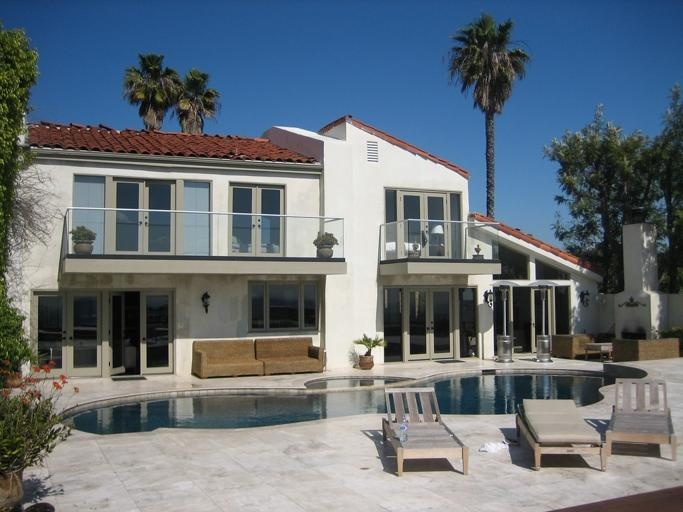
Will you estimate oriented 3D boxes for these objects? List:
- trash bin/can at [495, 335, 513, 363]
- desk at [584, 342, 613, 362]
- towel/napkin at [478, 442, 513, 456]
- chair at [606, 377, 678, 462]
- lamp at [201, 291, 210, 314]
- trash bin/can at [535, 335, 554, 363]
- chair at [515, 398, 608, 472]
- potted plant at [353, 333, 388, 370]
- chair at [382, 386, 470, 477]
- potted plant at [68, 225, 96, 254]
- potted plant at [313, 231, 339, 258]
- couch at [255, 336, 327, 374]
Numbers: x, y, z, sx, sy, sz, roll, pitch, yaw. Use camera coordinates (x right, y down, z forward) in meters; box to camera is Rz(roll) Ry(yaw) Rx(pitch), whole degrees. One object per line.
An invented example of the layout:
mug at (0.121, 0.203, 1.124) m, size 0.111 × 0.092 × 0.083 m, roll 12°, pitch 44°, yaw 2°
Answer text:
trash bin/can at (6.311, 3.583, 24.093) m, size 0.934 × 0.946 × 0.837 m, roll 0°, pitch -5°, yaw 2°
desk at (10.400, 3.822, 25.206) m, size 1.063 × 0.797 × 1.686 m, roll 0°, pitch 1°, yaw 22°
towel/napkin at (3.201, 3.937, 12.883) m, size 0.854 × 0.116 × 0.505 m, roll 0°, pitch 1°, yaw -36°
chair at (6.307, 3.385, 13.208) m, size 1.326 × 1.450 × 2.481 m, roll -1°, pitch -4°, yaw 20°
lamp at (-4.664, 1.582, 21.365) m, size 0.273 × 0.727 × 0.234 m, roll -1°, pitch 2°, yaw -17°
trash bin/can at (7.905, 3.605, 24.334) m, size 0.861 × 1.009 × 0.889 m, roll -3°, pitch -4°, yaw 41°
chair at (4.390, 3.536, 12.429) m, size 1.372 × 1.007 × 1.439 m, roll 0°, pitch 1°, yaw 4°
potted plant at (1.058, 3.537, 23.147) m, size 1.142 × 1.176 × 1.184 m, roll 1°, pitch -6°, yaw 5°
chair at (1.585, 3.374, 12.550) m, size 0.933 × 0.824 × 1.879 m, roll -1°, pitch -3°, yaw -4°
potted plant at (-8.080, -0.531, 19.652) m, size 0.804 × 0.875 × 0.758 m, roll 1°, pitch 1°, yaw 13°
potted plant at (-0.554, -0.375, 21.887) m, size 0.819 × 0.893 × 0.812 m, roll 3°, pitch -6°, yaw -32°
couch at (-1.834, 3.462, 21.659) m, size 2.236 × 1.261 × 1.199 m, roll 2°, pitch -4°, yaw -25°
